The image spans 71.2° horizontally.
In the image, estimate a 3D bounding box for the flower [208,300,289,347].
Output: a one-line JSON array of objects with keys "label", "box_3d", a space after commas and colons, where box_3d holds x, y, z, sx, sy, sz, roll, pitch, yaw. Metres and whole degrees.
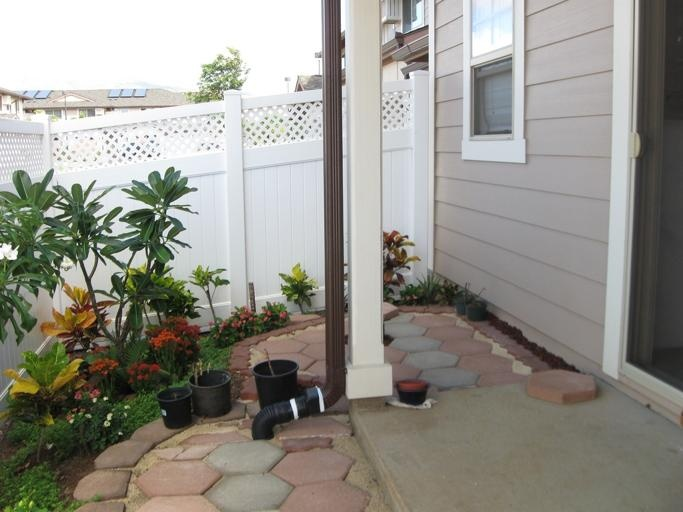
[{"label": "flower", "box_3d": [-0.894, 0.660, 4.667, 0.763, 0.272, 0.328, -11, 13, -27]}]

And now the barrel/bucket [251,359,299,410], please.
[{"label": "barrel/bucket", "box_3d": [-0.419, 0.811, 3.127, 0.296, 0.263, 0.296, -3, 9, 0]}]

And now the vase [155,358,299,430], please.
[{"label": "vase", "box_3d": [-0.712, 0.875, 3.125, 0.872, 0.279, 0.421, -5, 11, -10]}]

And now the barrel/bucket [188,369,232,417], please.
[{"label": "barrel/bucket", "box_3d": [-0.884, 0.933, 3.232, 0.269, 0.219, 0.284, 0, 11, 0]}]

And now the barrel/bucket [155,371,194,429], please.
[{"label": "barrel/bucket", "box_3d": [-1.077, 0.966, 3.100, 0.209, 0.188, 0.239, -1, 2, -3]}]

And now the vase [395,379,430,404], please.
[{"label": "vase", "box_3d": [0.441, 0.846, 2.965, 0.195, 0.178, 0.145, -5, 12, -2]}]
